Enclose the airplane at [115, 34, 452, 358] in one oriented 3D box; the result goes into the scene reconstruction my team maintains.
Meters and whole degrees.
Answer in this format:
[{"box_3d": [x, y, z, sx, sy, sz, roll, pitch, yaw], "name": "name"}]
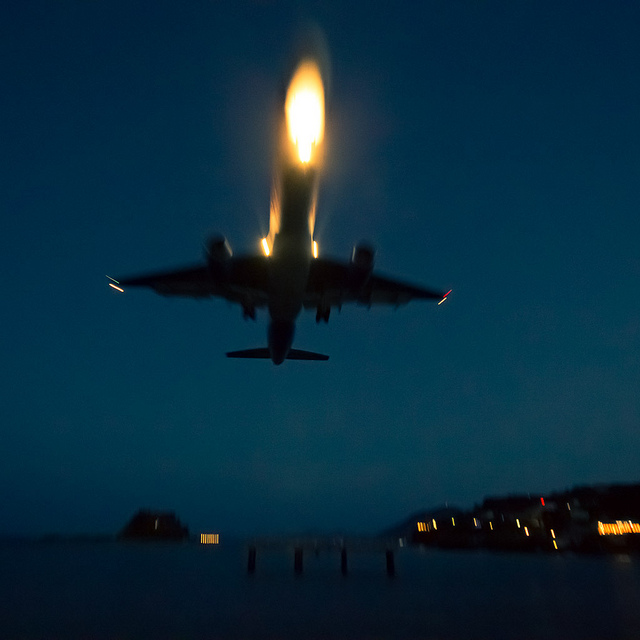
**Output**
[{"box_3d": [-2.083, -6.302, 38.037, 12.388, 4.817, 13.572, 1, -48, -5], "name": "airplane"}]
